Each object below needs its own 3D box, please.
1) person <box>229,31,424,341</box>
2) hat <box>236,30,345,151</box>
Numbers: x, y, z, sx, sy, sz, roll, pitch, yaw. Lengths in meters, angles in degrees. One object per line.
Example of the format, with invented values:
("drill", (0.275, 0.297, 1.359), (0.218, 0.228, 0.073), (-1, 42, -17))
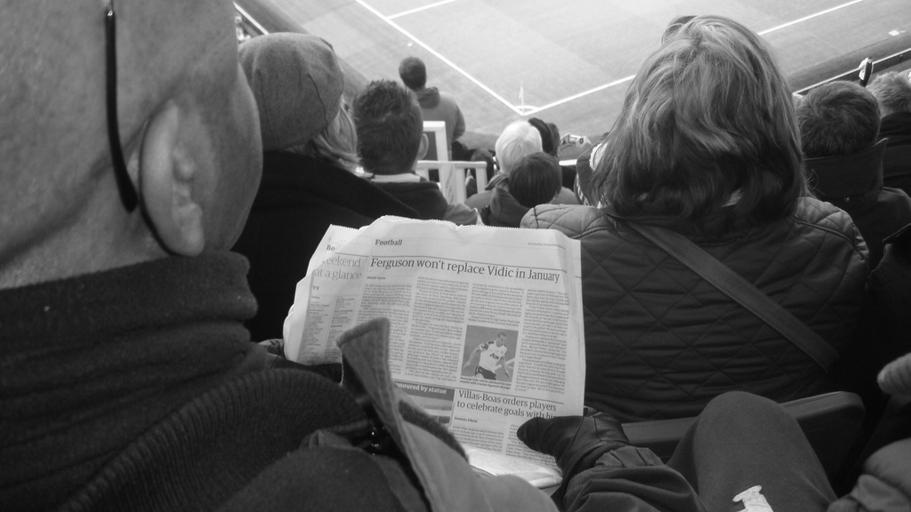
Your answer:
("person", (-0.560, -0.401, 2.491), (0.400, 0.722, 0.810), (-36, 53, -29))
("hat", (-0.505, -0.521, 2.298), (0.303, 0.207, 0.400), (12, 48, -7))
